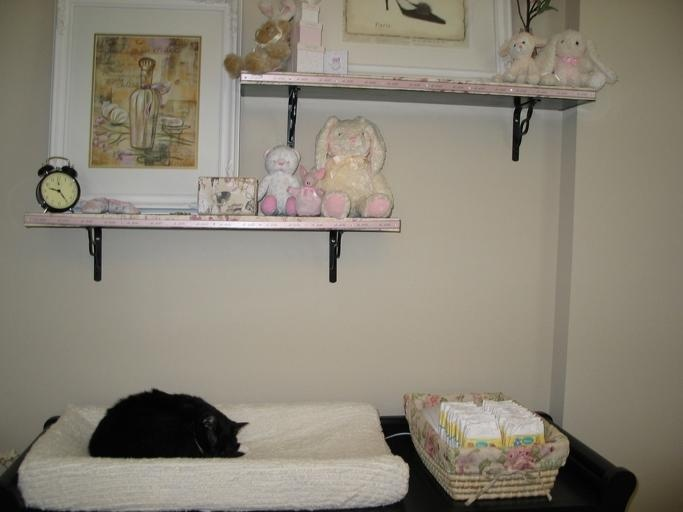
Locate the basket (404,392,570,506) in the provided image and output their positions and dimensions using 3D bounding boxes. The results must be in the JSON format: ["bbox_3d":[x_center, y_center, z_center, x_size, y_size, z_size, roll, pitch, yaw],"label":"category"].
[{"bbox_3d":[0.507,0.642,2.080,0.521,0.262,0.382,2,6,-5],"label":"basket"}]

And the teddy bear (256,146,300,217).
[{"bbox_3d":[-0.224,-0.269,2.165,0.204,0.351,0.207,-1,4,-6],"label":"teddy bear"}]

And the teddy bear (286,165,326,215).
[{"bbox_3d":[-0.128,-0.235,2.144,0.140,0.211,0.081,1,-14,2],"label":"teddy bear"}]
